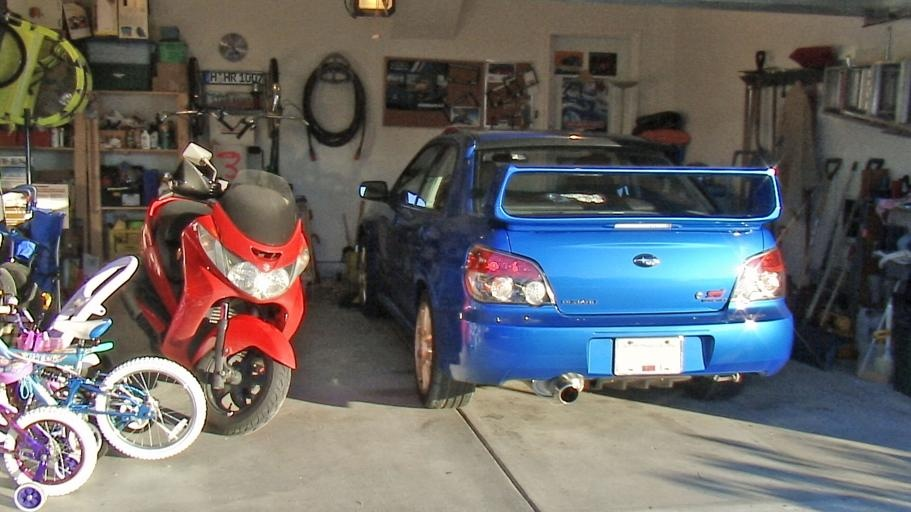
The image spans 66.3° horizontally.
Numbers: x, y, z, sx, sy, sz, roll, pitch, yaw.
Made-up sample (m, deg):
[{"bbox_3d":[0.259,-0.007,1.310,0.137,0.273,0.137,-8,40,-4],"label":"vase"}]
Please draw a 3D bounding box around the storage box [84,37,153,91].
[{"bbox_3d":[-4.382,-2.526,9.179,0.770,0.523,0.716,1,14,-12],"label":"storage box"}]

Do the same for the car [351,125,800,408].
[{"bbox_3d":[0.818,0.154,5.695,3.550,2.279,1.829,7,13,24],"label":"car"}]

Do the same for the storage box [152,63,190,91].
[{"bbox_3d":[-3.779,-2.362,9.304,0.399,0.364,0.406,-3,9,-25],"label":"storage box"}]
